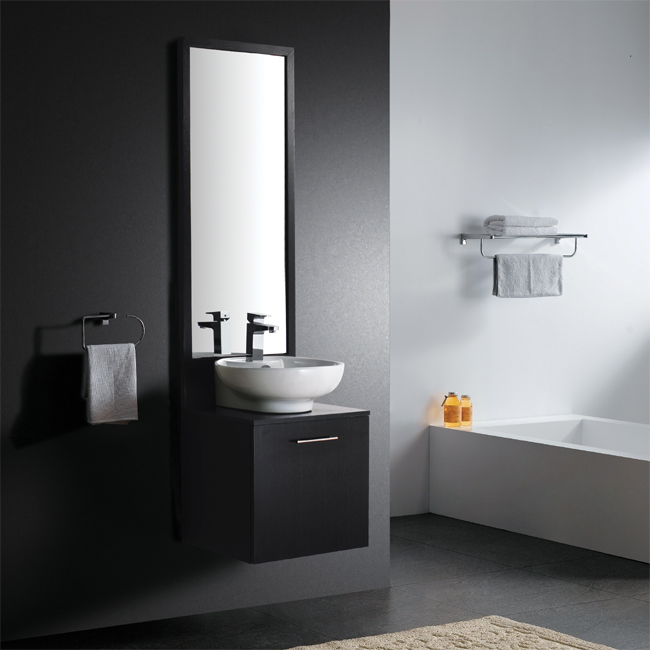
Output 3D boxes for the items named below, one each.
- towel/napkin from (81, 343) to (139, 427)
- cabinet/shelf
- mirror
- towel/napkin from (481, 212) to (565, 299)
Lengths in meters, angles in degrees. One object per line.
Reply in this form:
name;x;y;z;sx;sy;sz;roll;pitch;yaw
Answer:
towel/napkin;-0.698;0.188;2.109;0.233;0.362;0.054;0;1;-35
cabinet/shelf;-0.156;0.438;2.230;0.513;0.560;0.445;-1;1;-38
mirror;-0.314;-0.442;2.368;0.421;1.108;0.135;-2;6;-17
towel/napkin;1.169;-0.412;3.959;0.443;0.490;0.181;-2;3;-25
